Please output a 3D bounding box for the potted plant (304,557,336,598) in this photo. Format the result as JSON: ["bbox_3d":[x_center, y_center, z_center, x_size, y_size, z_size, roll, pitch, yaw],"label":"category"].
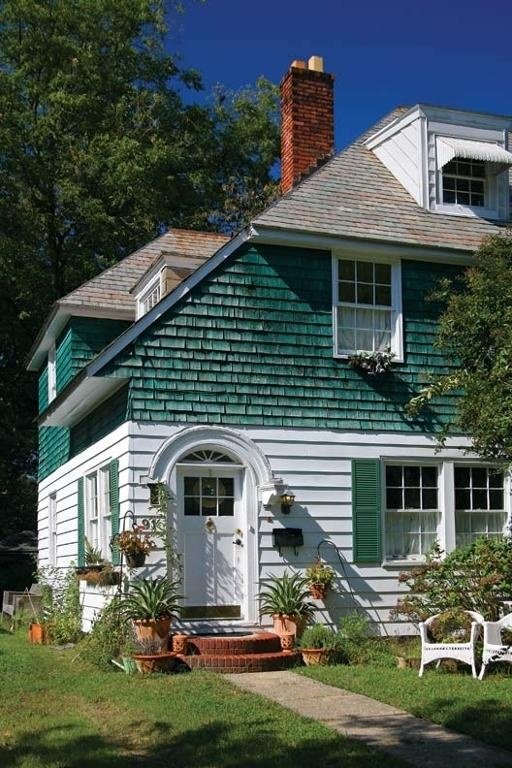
[{"bbox_3d":[0.916,2.599,15.253,0.475,0.539,0.467,3,-5,-29],"label":"potted plant"}]

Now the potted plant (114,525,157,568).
[{"bbox_3d":[-1.506,2.082,14.511,0.525,0.492,0.483,-2,-5,10],"label":"potted plant"}]

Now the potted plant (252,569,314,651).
[{"bbox_3d":[0.364,2.962,15.009,0.698,0.973,0.871,-1,-10,10],"label":"potted plant"}]

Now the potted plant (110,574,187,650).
[{"bbox_3d":[-1.268,2.799,14.093,0.870,0.857,0.827,3,-9,-27],"label":"potted plant"}]

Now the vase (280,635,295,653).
[{"bbox_3d":[0.396,3.295,14.562,0.179,0.160,0.182,6,-12,-30],"label":"vase"}]

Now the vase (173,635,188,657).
[{"bbox_3d":[-0.923,3.197,13.983,0.198,0.247,0.195,-1,-19,0],"label":"vase"}]

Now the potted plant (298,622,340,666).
[{"bbox_3d":[0.800,3.282,14.351,0.421,0.432,0.437,5,-15,-22],"label":"potted plant"}]

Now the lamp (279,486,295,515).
[{"bbox_3d":[0.409,1.614,15.448,0.191,0.315,0.298,0,-9,2],"label":"lamp"}]

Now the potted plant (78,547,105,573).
[{"bbox_3d":[-2.293,2.448,15.979,0.399,0.474,0.476,1,-14,-3],"label":"potted plant"}]

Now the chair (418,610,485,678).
[{"bbox_3d":[2.278,3.055,13.299,0.773,0.855,0.718,-7,-33,17],"label":"chair"}]

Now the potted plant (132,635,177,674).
[{"bbox_3d":[-1.187,3.221,13.554,0.402,0.391,0.491,-8,-12,40],"label":"potted plant"}]

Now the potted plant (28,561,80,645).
[{"bbox_3d":[-3.322,3.480,18.104,0.577,0.814,1.935,2,-13,-20],"label":"potted plant"}]
